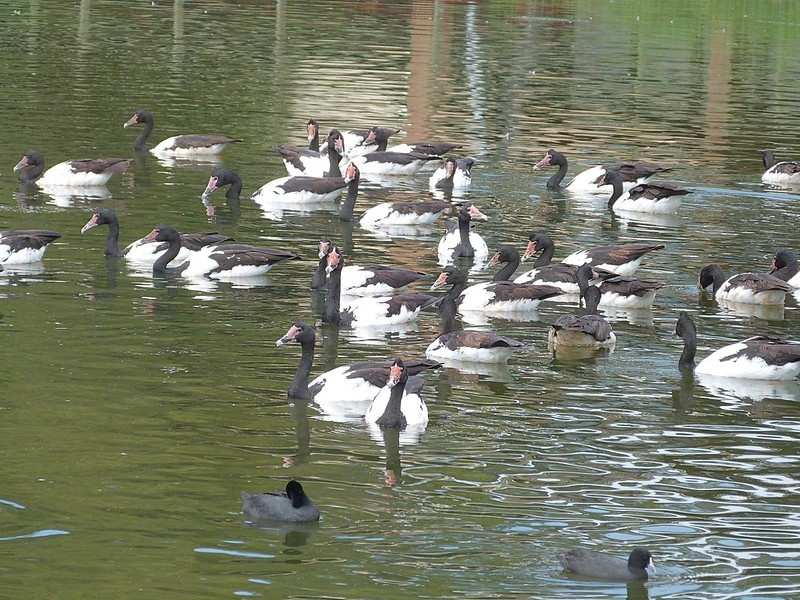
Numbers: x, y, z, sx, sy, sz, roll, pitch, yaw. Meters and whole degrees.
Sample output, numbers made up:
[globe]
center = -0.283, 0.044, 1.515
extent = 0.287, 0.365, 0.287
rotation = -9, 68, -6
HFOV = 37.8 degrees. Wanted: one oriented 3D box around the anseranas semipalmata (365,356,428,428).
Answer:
[anseranas semipalmata]
center = -0.038, 1.702, 22.170
extent = 1.163, 1.401, 0.990
rotation = 2, 15, -4
